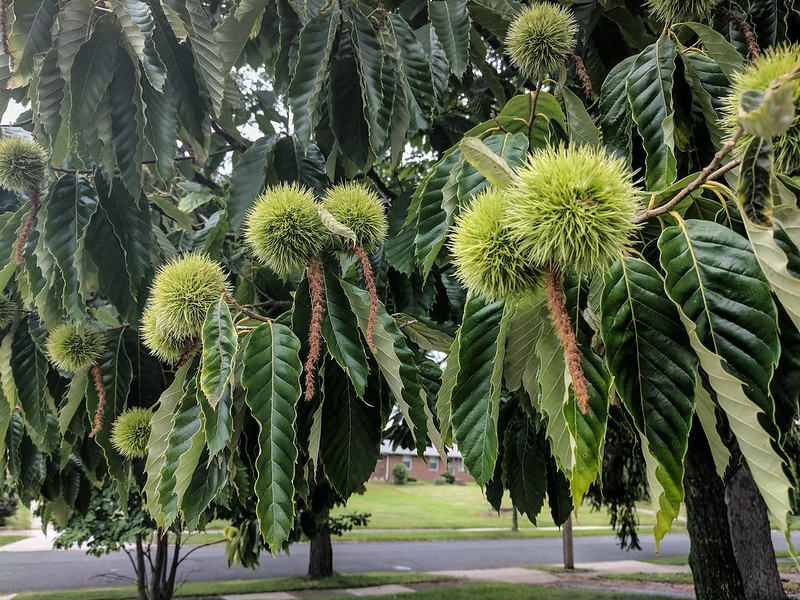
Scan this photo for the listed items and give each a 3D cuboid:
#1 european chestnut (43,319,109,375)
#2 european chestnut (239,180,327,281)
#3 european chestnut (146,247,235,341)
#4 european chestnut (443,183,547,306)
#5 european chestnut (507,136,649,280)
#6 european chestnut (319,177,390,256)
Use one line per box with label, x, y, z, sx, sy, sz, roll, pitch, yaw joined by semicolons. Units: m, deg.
european chestnut;-1.931;0.270;5.125;0.295;0.327;0.267;31;-33;-4
european chestnut;-0.581;-0.378;4.349;0.437;0.469;0.179;-5;-8;21
european chestnut;-1.097;-0.046;4.348;0.265;0.340;0.274;-18;23;-32
european chestnut;0.431;-0.218;3.865;0.392;0.402;0.427;2;26;21
european chestnut;0.760;-0.341;3.703;0.489;0.566;0.542;-20;14;24
european chestnut;-0.228;-0.498;4.520;0.320;0.362;0.320;-17;31;-35
